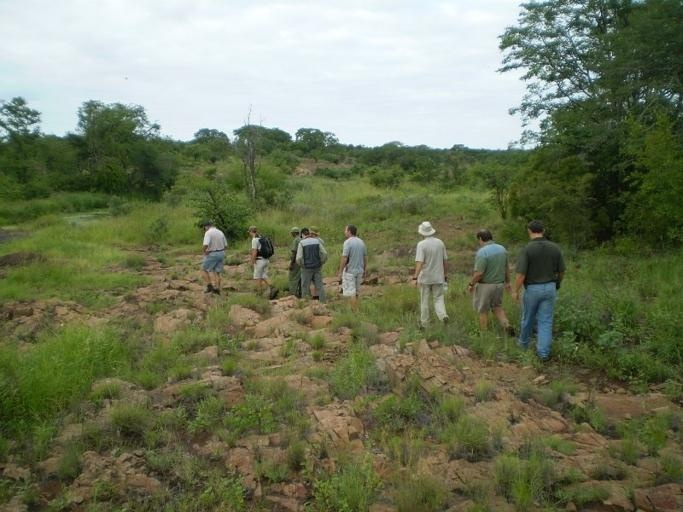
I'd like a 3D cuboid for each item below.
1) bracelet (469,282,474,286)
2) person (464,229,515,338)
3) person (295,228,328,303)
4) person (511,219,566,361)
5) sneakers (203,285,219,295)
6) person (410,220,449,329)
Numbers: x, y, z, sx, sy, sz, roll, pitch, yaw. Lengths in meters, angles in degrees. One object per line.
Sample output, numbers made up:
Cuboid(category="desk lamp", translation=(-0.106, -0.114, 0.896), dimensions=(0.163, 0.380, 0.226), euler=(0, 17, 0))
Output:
Cuboid(category="bracelet", translation=(2.693, 0.584, 11.021), dimensions=(0.072, 0.099, 0.236), euler=(-3, -19, 9))
Cuboid(category="person", translation=(3.129, 0.517, 11.128), dimensions=(0.914, 2.086, 0.889), euler=(3, 14, 13))
Cuboid(category="person", translation=(-0.777, 0.343, 13.662), dimensions=(0.755, 1.624, 0.456), euler=(-2, 13, -7))
Cuboid(category="person", translation=(3.865, 0.666, 10.467), dimensions=(0.826, 2.613, 0.655), euler=(10, 16, 35))
Cuboid(category="sneakers", translation=(-3.494, 0.924, 14.420), dimensions=(0.295, 0.179, 0.202), euler=(-2, -3, 37))
Cuboid(category="person", translation=(1.954, 0.377, 11.392), dimensions=(0.753, 2.185, 0.897), euler=(10, 16, 35))
